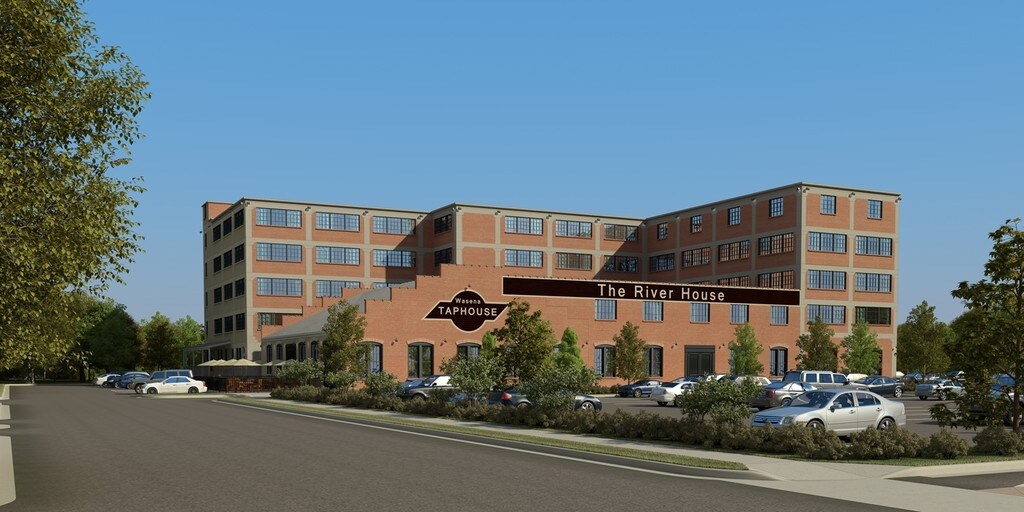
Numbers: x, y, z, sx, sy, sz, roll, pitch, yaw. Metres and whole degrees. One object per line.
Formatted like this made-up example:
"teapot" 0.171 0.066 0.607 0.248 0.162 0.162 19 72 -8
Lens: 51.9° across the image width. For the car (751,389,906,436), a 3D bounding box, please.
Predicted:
"car" 19.335 9.279 63.199 8.752 2.351 3.496 5 -9 -19
